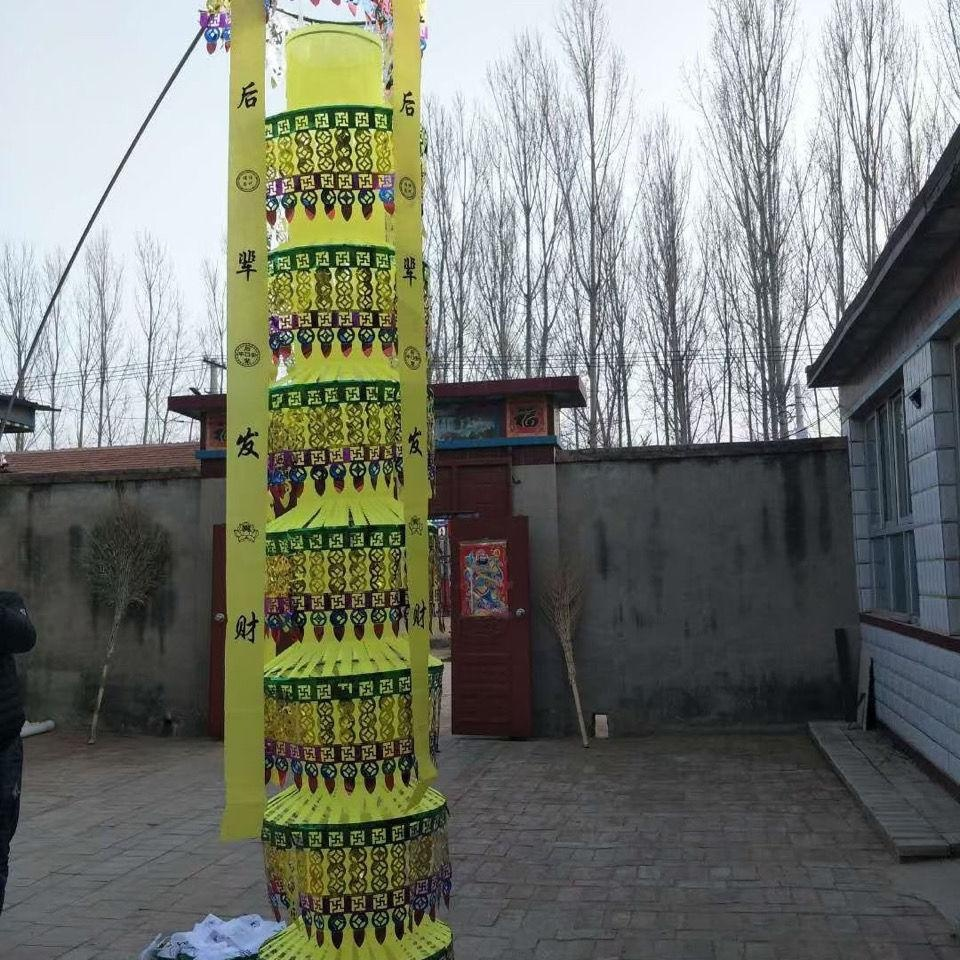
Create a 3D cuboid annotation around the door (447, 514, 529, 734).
[{"bbox_3d":[0.066,1.302,9.533,0.712,2.462,0.242,-1,28,2],"label":"door"}]
